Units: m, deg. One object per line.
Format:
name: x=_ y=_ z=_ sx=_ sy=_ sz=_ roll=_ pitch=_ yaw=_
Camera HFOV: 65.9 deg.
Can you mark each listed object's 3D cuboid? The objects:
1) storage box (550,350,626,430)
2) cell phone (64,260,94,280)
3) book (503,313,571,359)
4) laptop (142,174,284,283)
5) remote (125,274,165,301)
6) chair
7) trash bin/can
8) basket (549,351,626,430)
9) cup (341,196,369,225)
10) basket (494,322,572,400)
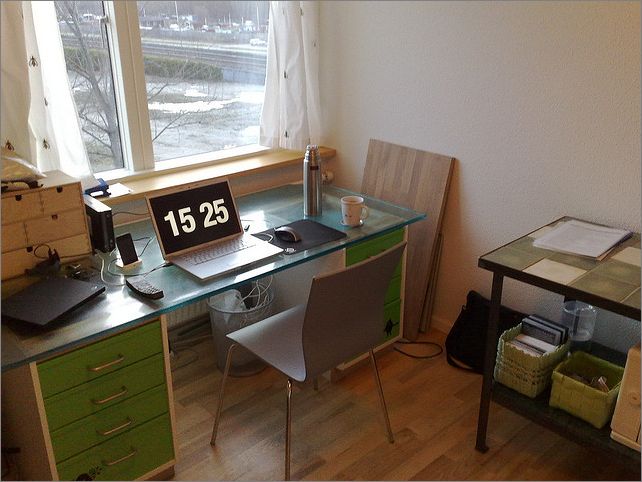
storage box: x=1.101 y=0.657 z=2.119 sx=0.272 sy=0.217 sz=0.276 roll=15 pitch=28 yaw=36
cell phone: x=-1.013 y=0.117 z=2.094 sx=0.103 sy=0.040 sz=0.079 roll=20 pitch=36 yaw=24
book: x=0.961 y=0.433 z=2.196 sx=0.179 sy=0.073 sz=0.175 roll=23 pitch=55 yaw=42
laptop: x=-0.534 y=-0.095 z=2.377 sx=0.541 sy=0.266 sz=0.567 roll=-6 pitch=-9 yaw=-32
remote: x=-0.697 y=0.183 z=1.954 sx=0.192 sy=0.066 sz=0.070 roll=28 pitch=31 yaw=30
chair: x=-0.074 y=0.589 z=2.316 sx=0.558 sy=0.905 sz=0.552 roll=-25 pitch=43 yaw=-38
trash bin/can: x=-0.401 y=0.442 z=2.514 sx=0.305 sy=0.448 sz=0.362 roll=18 pitch=31 yaw=32
basket: x=1.090 y=0.582 z=2.098 sx=0.271 sy=0.220 sz=0.278 roll=14 pitch=27 yaw=36
cup: x=0.180 y=-0.145 z=2.492 sx=0.149 sy=0.136 sz=0.100 roll=16 pitch=30 yaw=33
basket: x=0.934 y=0.474 z=2.231 sx=0.233 sy=0.239 sz=0.321 roll=23 pitch=34 yaw=34
